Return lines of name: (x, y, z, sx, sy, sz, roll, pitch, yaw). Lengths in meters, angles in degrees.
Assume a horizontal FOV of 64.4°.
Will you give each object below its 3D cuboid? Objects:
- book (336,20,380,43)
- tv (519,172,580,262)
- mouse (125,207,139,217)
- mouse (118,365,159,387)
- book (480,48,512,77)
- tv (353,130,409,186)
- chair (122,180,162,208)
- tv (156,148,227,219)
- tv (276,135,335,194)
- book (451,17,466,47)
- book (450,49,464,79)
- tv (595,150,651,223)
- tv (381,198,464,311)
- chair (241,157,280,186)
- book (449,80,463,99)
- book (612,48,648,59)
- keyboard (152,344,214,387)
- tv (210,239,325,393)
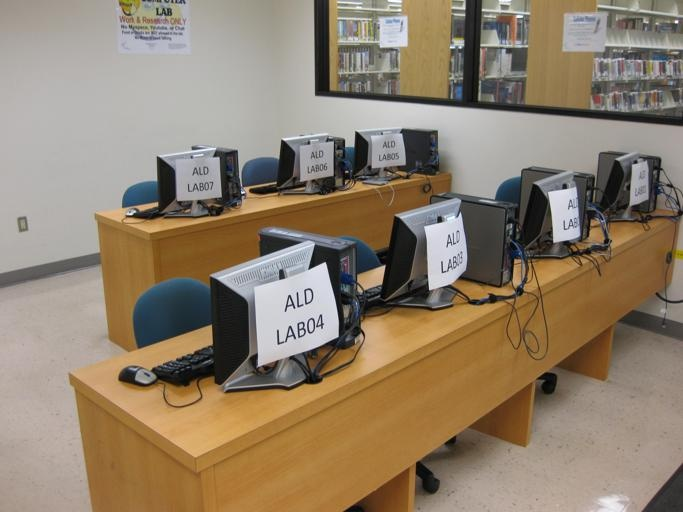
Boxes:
book: (0.185, -2.392, 5.734, 0.519, 0.239, 0.049, 10, 21, 36)
tv: (1.182, -0.203, 3.052, 0.395, 0.405, 0.183, -22, 22, -38)
mouse: (-1.491, -0.317, 3.875, 0.075, 0.055, 0.107, 1, 15, -6)
mouse: (-0.773, 0.448, 2.071, 0.121, 0.044, 0.073, 4, 25, 20)
book: (1.378, -1.743, 4.862, 0.297, 0.251, 0.039, 12, 22, 40)
tv: (0.373, -0.934, 4.951, 0.505, 0.472, 0.208, -17, 28, -34)
chair: (-1.562, -0.511, 4.310, 0.238, 0.307, 0.252, -11, 19, -30)
tv: (-1.042, -0.507, 3.865, 0.460, 0.453, 0.219, -13, 18, -43)
tv: (-0.271, -0.756, 4.516, 0.459, 0.465, 0.248, -15, 16, -37)
book: (1.088, -2.093, 5.033, 0.083, 0.233, 0.231, -21, 31, -40)
book: (1.089, -1.816, 5.093, 0.060, 0.258, 0.179, -9, 18, -21)
tv: (1.991, -0.476, 3.827, 0.401, 0.480, 0.259, -16, 22, -35)
tv: (0.423, -0.008, 2.567, 0.463, 0.438, 0.246, -15, 16, -42)
chair: (-0.760, -0.806, 5.125, 0.286, 0.402, 0.314, -11, 20, -27)
book: (1.090, -1.587, 5.139, 0.087, 0.167, 0.157, -12, 22, -37)
book: (2.260, -1.592, 4.271, 0.251, 0.086, 0.054, -2, 17, 4)
keyboard: (-0.604, 0.426, 2.109, 0.241, 0.087, 0.169, -13, 20, -27)
tv: (-0.244, 0.253, 2.069, 0.238, 0.472, 0.494, 10, 18, 34)
